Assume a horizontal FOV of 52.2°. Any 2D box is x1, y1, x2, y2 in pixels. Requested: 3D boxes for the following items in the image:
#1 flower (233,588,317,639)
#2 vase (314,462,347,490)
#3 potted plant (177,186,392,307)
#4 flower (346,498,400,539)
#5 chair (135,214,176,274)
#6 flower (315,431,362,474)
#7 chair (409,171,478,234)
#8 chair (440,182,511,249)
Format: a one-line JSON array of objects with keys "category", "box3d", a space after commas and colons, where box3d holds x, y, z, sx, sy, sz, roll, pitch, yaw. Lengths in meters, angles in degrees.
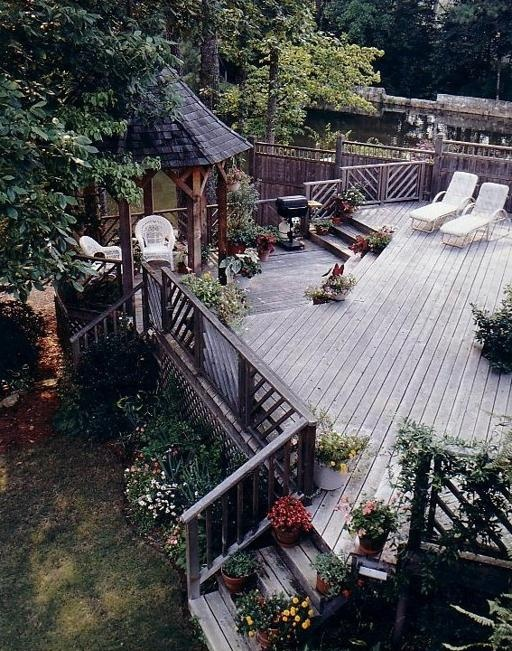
[{"category": "flower", "box3d": [0.133, 2.195, 3.956, 0.449, 0.279, 0.467, 3, 10, 28]}, {"category": "vase", "box3d": [0.708, 1.440, 4.988, 0.302, 0.216, 0.298, -2, 21, -2]}, {"category": "potted plant", "box3d": [0.516, -1.345, 10.593, 2.662, 1.271, 3.686, -5, 27, -6]}, {"category": "flower", "box3d": [0.911, 1.476, 4.123, 0.335, 0.224, 0.335, -1, 18, 10]}, {"category": "chair", "box3d": [-1.951, -1.620, 10.052, 0.710, 0.904, 0.988, -3, 22, -12]}, {"category": "flower", "box3d": [0.740, 1.200, 5.007, 0.437, 0.222, 0.441, 19, 33, 32]}, {"category": "chair", "box3d": [4.620, -3.020, 12.760, 2.064, 1.147, 0.990, -37, 48, -19]}, {"category": "chair", "box3d": [4.987, -2.483, 11.921, 1.785, 1.092, 0.817, -36, 46, -24]}]
